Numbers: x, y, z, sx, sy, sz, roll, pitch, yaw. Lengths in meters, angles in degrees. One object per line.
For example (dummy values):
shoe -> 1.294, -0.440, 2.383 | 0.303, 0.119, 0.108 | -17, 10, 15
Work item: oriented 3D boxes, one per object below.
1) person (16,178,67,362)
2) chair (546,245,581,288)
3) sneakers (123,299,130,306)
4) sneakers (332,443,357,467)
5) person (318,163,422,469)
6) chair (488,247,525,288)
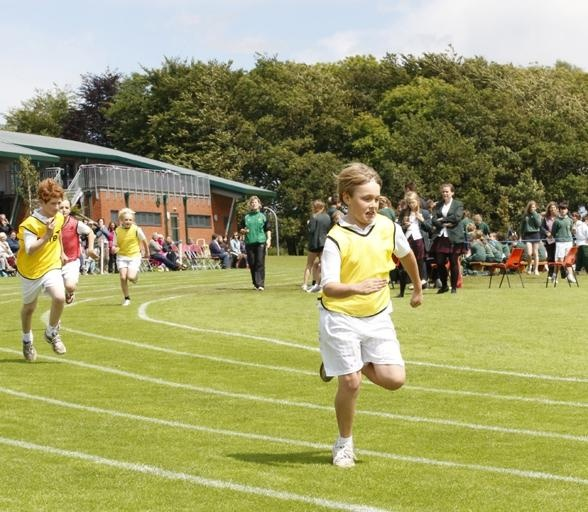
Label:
person -> -3.101, 0.188, 8.093 | 0.543, 2.253, 0.942 | -1, 1, -23
chair -> 8.302, 0.267, 20.521 | 0.828, 1.137, 3.901 | 0, 2, 22
sneakers -> -3.901, 1.084, 15.331 | 0.097, 0.098, 0.206 | 2, 3, -12
sneakers -> 0.330, 1.340, 4.437 | 0.157, 0.142, 0.212 | -1, 2, 3
person -> 0.507, 0.386, 4.572 | 0.782, 2.083, 0.596 | -1, 1, -19
chair -> 6.170, 0.337, 19.302 | 0.787, 1.202, 0.713 | 3, 0, -11
